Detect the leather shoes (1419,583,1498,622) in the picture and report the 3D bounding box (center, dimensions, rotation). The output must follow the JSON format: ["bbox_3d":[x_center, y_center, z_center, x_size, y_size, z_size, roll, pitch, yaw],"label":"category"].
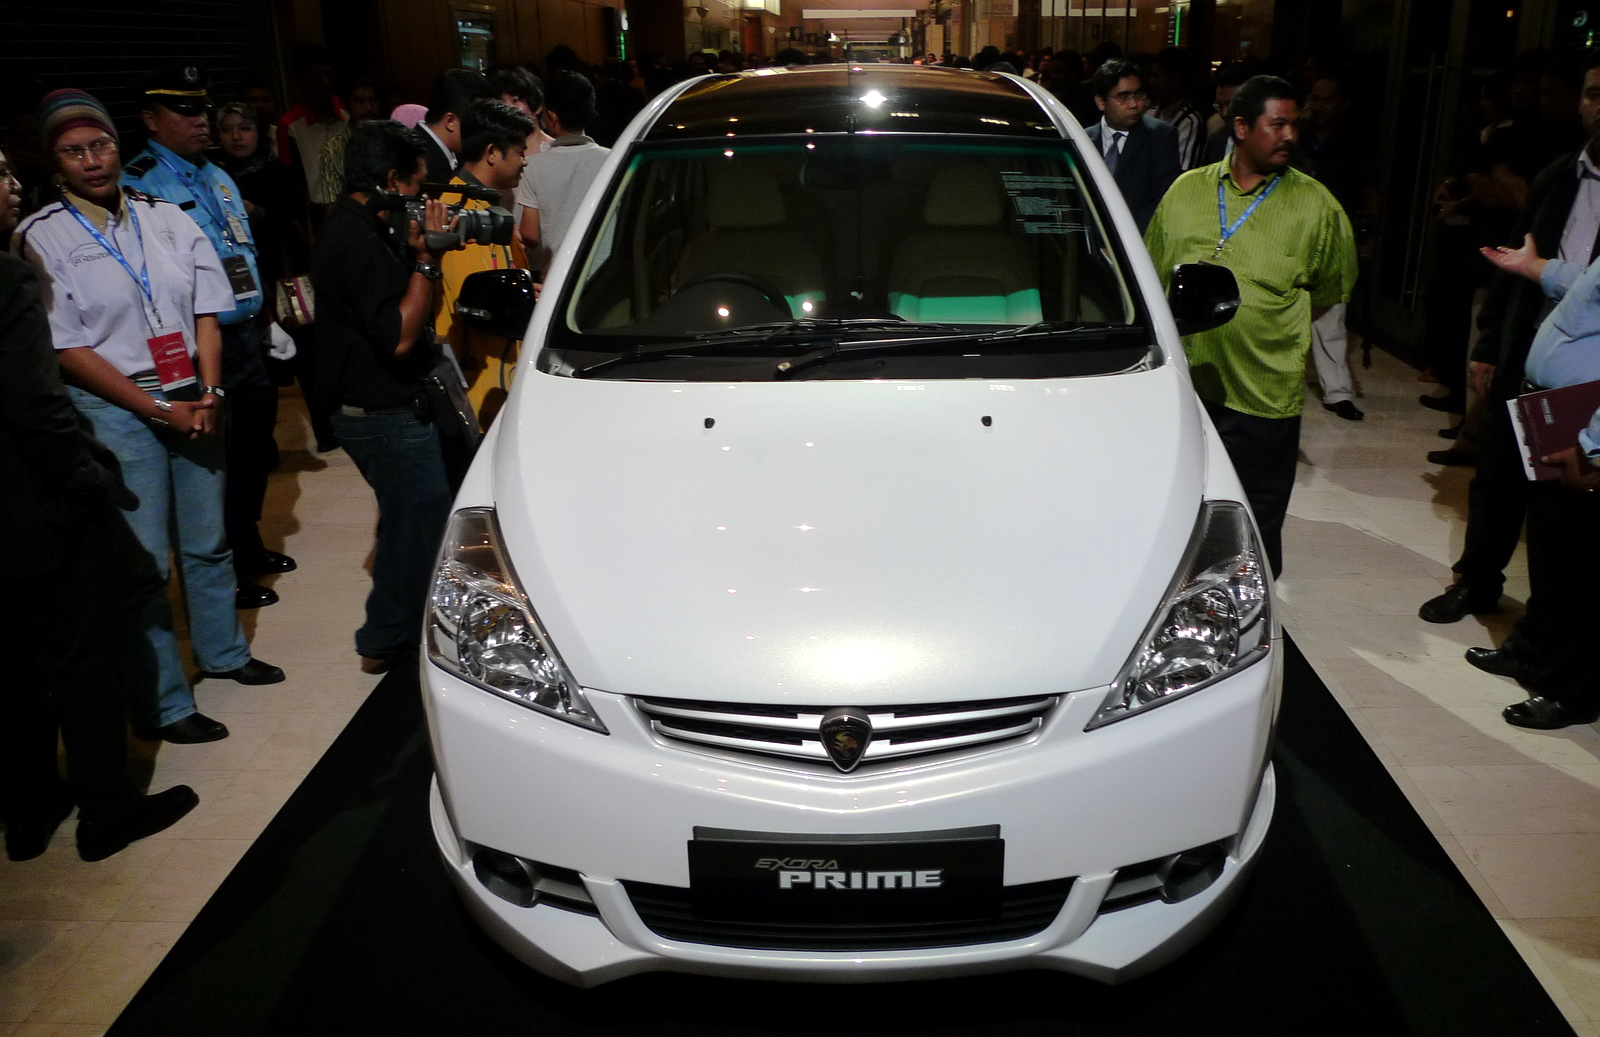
[{"bbox_3d":[2.950,0.396,4.920,0.397,0.169,0.156,-1,45,7],"label":"leather shoes"}]

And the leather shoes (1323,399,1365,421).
[{"bbox_3d":[3.642,-0.721,7.304,0.106,0.112,0.273,-11,24,-15],"label":"leather shoes"}]

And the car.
[{"bbox_3d":[0.262,-0.187,3.368,2.428,2.094,2.662,9,26,25],"label":"car"}]

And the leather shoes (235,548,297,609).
[{"bbox_3d":[-2.564,0.313,5.392,0.376,0.268,0.130,-4,43,-15],"label":"leather shoes"}]

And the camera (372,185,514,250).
[{"bbox_3d":[-1.388,-1.173,4.256,0.394,0.161,0.249,-5,23,-18],"label":"camera"}]

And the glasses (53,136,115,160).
[{"bbox_3d":[-2.546,-1.328,3.862,0.105,0.079,0.139,-5,28,-5],"label":"glasses"}]

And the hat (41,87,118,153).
[{"bbox_3d":[-2.610,-1.456,3.910,0.216,0.169,0.225,-17,28,-31],"label":"hat"}]
